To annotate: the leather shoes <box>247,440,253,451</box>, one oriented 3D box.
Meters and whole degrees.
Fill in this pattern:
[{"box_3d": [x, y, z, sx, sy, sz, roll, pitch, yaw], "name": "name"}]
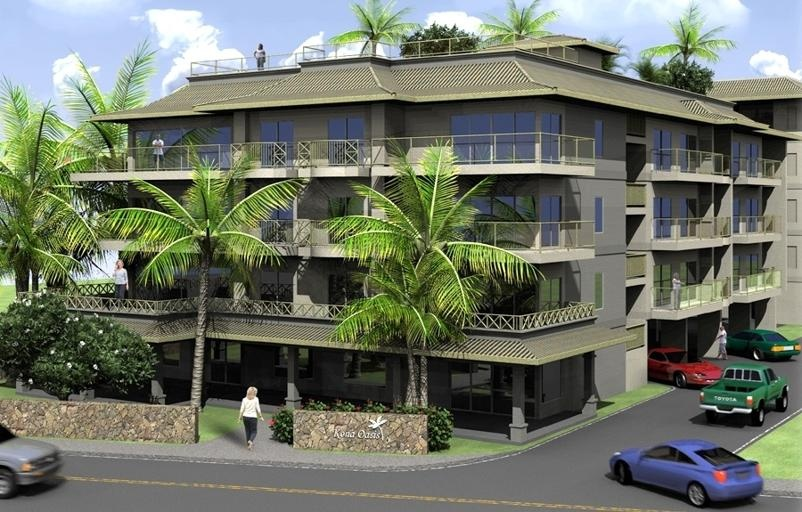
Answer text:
[{"box_3d": [-7.253, 9.175, 35.993, 0.202, 0.459, 0.211, -1, 40, -2], "name": "leather shoes"}]
